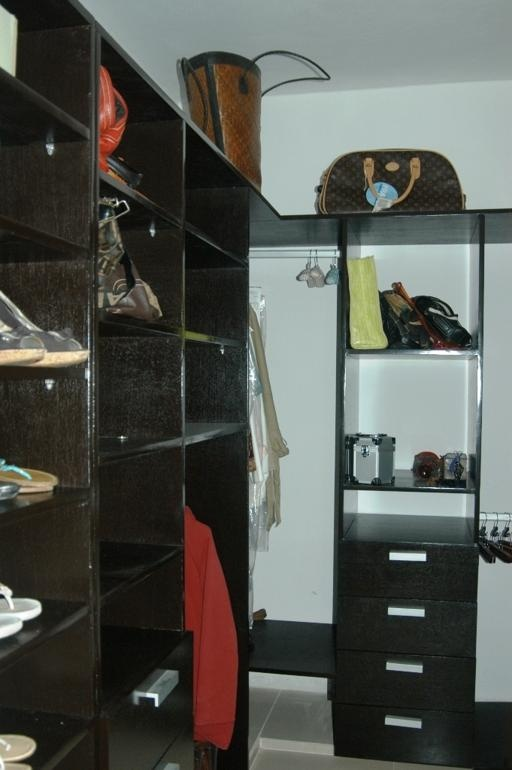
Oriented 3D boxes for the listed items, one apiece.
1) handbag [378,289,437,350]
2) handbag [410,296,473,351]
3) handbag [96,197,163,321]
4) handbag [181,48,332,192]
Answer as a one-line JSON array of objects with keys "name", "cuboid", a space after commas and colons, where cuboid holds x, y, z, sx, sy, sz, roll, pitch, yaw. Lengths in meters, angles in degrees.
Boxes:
[{"name": "handbag", "cuboid": [0.640, -0.266, 2.764, 0.234, 0.096, 0.407, 6, -10, 20]}, {"name": "handbag", "cuboid": [0.701, -0.235, 2.643, 0.150, 0.244, 0.088, -39, -16, 14]}, {"name": "handbag", "cuboid": [-0.269, -0.250, 1.419, 0.062, 0.232, 0.219, 1, 1, 10]}, {"name": "handbag", "cuboid": [0.007, -0.817, 2.216, 0.447, 0.402, 0.260, 4, 0, 13]}]
